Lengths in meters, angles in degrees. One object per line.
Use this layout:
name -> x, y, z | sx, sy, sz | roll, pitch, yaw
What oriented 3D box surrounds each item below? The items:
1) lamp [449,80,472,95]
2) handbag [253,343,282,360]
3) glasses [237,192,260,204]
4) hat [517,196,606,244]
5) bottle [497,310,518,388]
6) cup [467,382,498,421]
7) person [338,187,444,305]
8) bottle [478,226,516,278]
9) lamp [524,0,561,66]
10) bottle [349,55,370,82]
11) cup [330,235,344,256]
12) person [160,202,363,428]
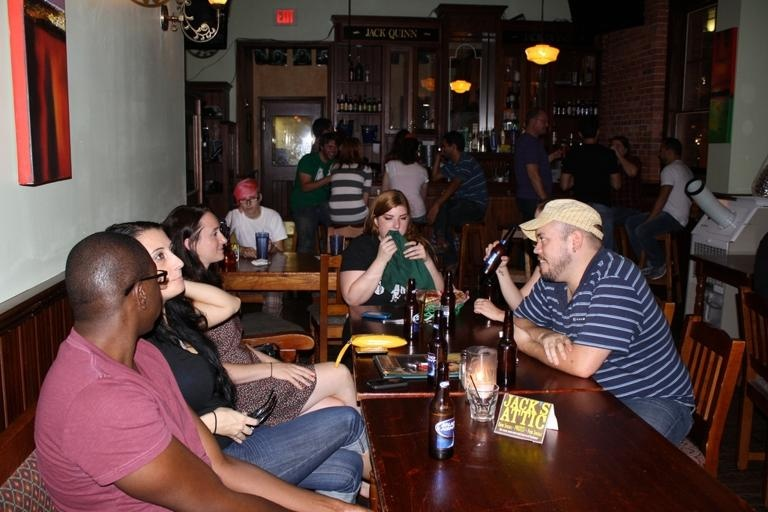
lamp -> 1.271, -2.825, 8.897 | 0.247, 0.165, 0.257 | 7, 13, 17
handbag -> -0.687, 0.552, 3.133 | 0.100, 0.131, 0.106 | -21, -2, -23
glasses -> -1.191, -0.536, 4.688 | 0.211, 0.127, 0.162 | -6, 12, -15
hat -> 0.831, -0.138, 2.465 | 0.291, 0.152, 0.208 | 14, -2, 9
bottle -> 0.510, 0.368, 2.228 | 0.074, 0.279, 0.286 | 0, 12, 12
cup -> 0.357, 0.537, 2.007 | 0.118, 0.140, 0.124 | 0, 0, 0
person -> 0.047, 0.104, 3.287 | 0.651, 0.960, 0.491 | -3, 12, -22
bottle -> 0.628, 0.004, 2.913 | 0.135, 0.294, 0.373 | 1, 12, 16
lamp -> 2.483, -3.582, 8.380 | 0.545, 1.233, 1.919 | 1, 13, 17
bottle -> -0.404, -3.123, 8.893 | 0.341, 0.409, 0.109 | -3, 12, -1
cup -> -0.353, -0.084, 4.291 | 0.147, 0.171, 0.144 | 0, -3, 0
person -> -0.665, 0.092, 3.349 | 1.056, 1.846, 0.985 | -7, 16, -9
